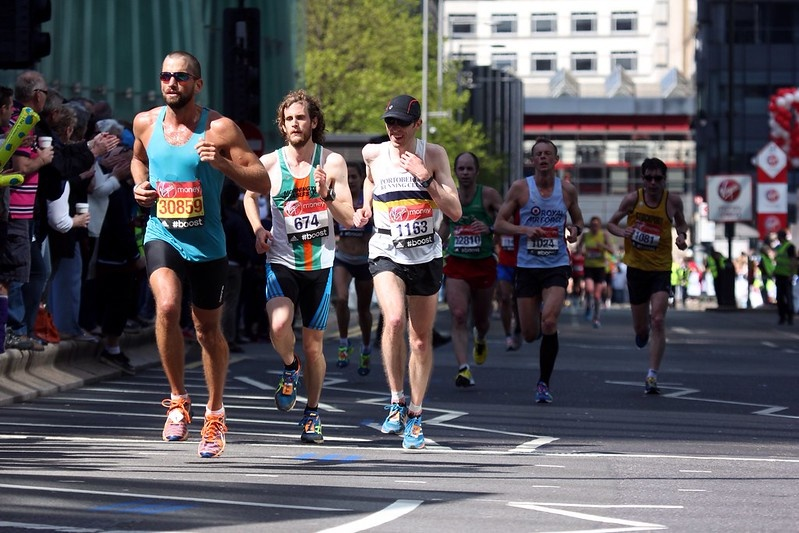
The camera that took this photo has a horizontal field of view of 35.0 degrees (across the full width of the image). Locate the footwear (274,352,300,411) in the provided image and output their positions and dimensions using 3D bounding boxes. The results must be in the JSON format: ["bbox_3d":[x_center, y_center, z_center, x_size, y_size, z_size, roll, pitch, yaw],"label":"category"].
[{"bbox_3d":[-1.044,1.075,11.941,0.190,0.581,0.215,4,-5,-10],"label":"footwear"}]

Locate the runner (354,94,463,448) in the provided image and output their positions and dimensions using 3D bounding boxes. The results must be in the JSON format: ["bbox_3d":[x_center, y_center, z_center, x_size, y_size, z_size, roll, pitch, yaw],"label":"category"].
[{"bbox_3d":[0.069,0.022,11.587,0.897,3.156,0.958,-1,4,-3],"label":"runner"}]

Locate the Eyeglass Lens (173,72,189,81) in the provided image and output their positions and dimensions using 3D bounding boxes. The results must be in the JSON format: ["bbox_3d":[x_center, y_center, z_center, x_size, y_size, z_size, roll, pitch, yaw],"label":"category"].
[{"bbox_3d":[-1.801,-1.573,10.537,0.138,0.064,0.039,-5,6,-34],"label":"Eyeglass Lens"}]

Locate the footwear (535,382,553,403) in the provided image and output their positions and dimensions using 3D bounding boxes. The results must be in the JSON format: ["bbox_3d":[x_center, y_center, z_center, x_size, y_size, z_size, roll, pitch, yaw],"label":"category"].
[{"bbox_3d":[1.605,1.381,14.106,0.180,0.201,0.411,-1,5,8],"label":"footwear"}]

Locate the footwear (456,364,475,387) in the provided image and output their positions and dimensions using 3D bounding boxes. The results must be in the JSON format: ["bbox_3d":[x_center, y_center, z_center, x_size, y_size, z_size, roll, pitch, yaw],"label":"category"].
[{"bbox_3d":[0.792,1.295,15.185,0.129,0.190,0.374,2,2,12],"label":"footwear"}]

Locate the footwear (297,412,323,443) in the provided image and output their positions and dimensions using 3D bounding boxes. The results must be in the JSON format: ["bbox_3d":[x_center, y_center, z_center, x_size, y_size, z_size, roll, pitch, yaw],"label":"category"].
[{"bbox_3d":[-0.786,1.429,11.453,0.212,0.278,0.264,-2,5,-5],"label":"footwear"}]

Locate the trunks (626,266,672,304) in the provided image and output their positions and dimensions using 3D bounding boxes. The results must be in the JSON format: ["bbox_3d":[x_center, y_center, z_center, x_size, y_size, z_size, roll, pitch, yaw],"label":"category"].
[{"bbox_3d":[2.997,0.211,15.262,0.600,0.611,0.393,1,-4,4],"label":"trunks"}]

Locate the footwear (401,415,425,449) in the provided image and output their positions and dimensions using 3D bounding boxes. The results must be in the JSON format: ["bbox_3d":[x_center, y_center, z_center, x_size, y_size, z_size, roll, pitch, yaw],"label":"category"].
[{"bbox_3d":[0.126,1.463,11.362,0.198,0.256,0.327,-1,5,0],"label":"footwear"}]

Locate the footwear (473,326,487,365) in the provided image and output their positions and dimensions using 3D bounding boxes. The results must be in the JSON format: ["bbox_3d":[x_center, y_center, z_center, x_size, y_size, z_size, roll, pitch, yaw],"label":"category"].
[{"bbox_3d":[1.024,1.015,16.085,0.157,0.514,0.211,-3,14,-1],"label":"footwear"}]

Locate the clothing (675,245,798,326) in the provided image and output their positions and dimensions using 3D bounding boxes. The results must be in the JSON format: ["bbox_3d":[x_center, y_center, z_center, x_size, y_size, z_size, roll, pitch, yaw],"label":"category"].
[{"bbox_3d":[10.129,0.604,38.257,2.245,2.982,0.653,1,-17,2],"label":"clothing"}]

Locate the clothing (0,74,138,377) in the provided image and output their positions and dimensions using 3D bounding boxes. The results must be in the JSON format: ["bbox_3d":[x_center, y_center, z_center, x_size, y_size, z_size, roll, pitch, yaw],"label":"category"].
[{"bbox_3d":[-3.642,-0.311,13.983,1.355,4.360,1.394,-15,36,-32],"label":"clothing"}]

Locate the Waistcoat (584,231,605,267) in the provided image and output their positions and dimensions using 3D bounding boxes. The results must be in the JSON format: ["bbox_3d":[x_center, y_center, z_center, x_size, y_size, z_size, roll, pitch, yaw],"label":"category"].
[{"bbox_3d":[4.404,-0.398,28.655,0.617,1.002,0.494,1,-12,1],"label":"Waistcoat"}]
